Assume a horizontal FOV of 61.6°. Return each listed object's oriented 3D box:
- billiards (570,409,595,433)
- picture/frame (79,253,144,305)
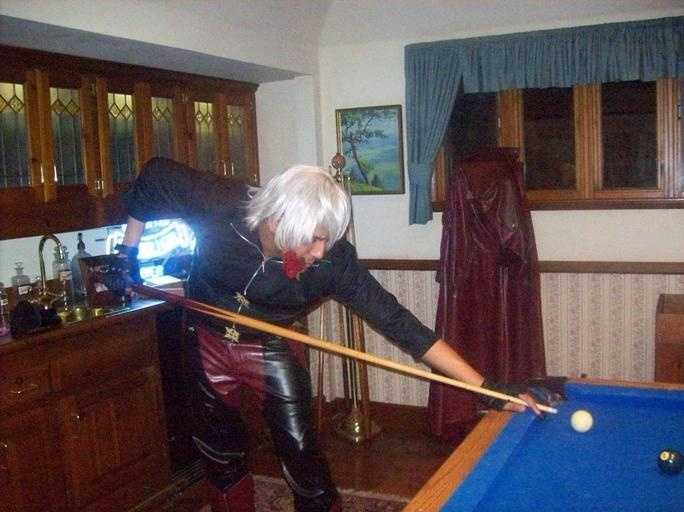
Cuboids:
[{"bbox_3d":[0.858,0.587,2.043,0.073,0.070,0.039,-13,-12,18],"label":"billiards"},{"bbox_3d":[-1.328,0.118,3.227,0.270,0.299,0.425,5,9,23],"label":"picture/frame"}]
